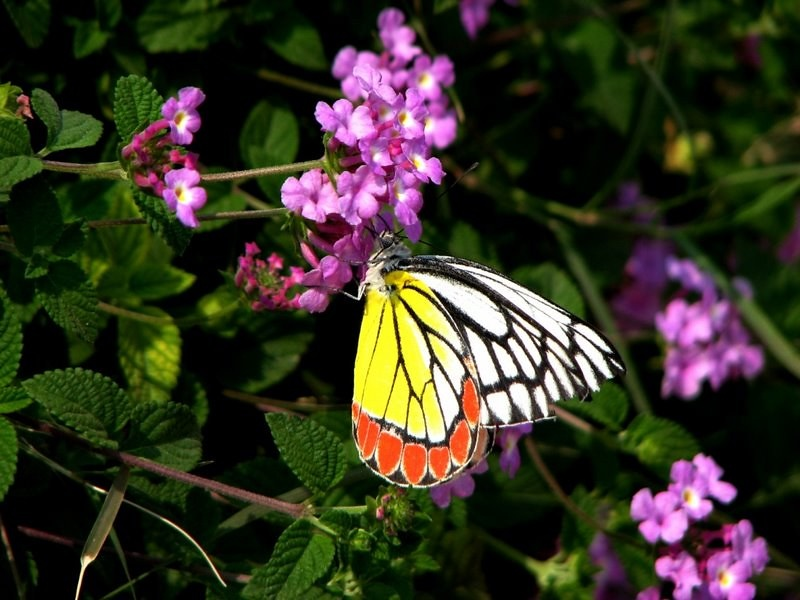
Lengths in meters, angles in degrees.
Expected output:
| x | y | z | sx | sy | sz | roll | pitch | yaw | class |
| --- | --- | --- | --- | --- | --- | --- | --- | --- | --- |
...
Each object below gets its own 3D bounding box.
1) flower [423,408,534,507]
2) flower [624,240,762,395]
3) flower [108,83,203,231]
| x | y | z | sx | sy | sz | roll | pitch | yaw | class |
| --- | --- | --- | --- | --- | --- | --- | --- | --- | --- |
| 0.320 | 0.658 | 3.726 | 0.173 | 0.331 | 0.350 | 50 | 32 | -17 | flower |
| 1.336 | 0.072 | 4.362 | 0.251 | 0.549 | 0.711 | 18 | 54 | -47 | flower |
| -0.773 | -0.463 | 3.116 | 0.300 | 0.163 | 0.462 | -1 | 71 | -26 | flower |
